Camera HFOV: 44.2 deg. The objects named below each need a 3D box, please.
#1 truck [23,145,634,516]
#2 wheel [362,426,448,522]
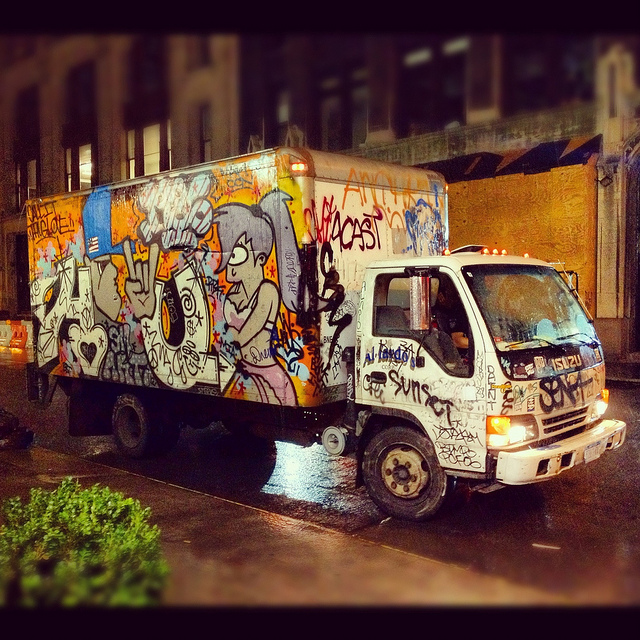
[{"bbox_3d":[0.032,0.083,9.091,6.434,4.449,3.150,2,6,39],"label":"truck"},{"bbox_3d":[0.736,1.281,6.583,0.614,0.838,0.244,-2,-5,39],"label":"wheel"}]
